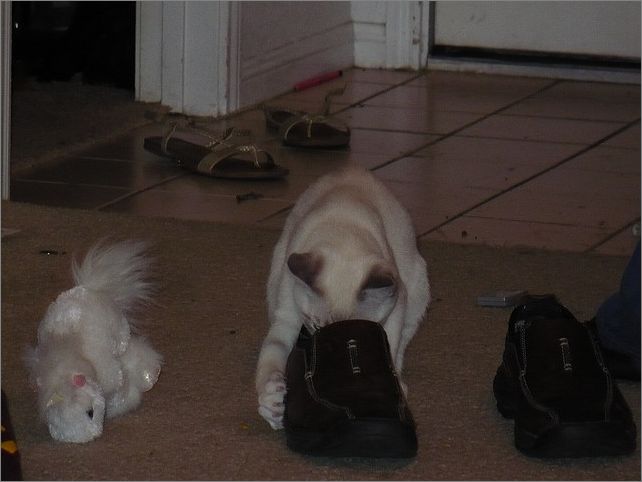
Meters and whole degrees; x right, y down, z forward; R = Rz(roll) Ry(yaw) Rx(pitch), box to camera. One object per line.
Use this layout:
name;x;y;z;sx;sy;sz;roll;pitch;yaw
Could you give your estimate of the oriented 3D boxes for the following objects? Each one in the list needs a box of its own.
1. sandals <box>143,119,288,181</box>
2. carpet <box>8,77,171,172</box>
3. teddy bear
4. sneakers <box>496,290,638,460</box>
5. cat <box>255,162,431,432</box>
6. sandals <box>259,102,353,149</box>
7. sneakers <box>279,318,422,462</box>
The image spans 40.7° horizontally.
sandals;-0.411;-0.432;3.442;0.538;0.183;0.279;19;21;31
carpet;-1.083;-0.519;3.831;0.588;0.026;0.428;-4;40;-39
teddy bear;-0.486;0.221;1.860;0.276;0.428;0.200;3;-27;-10
sneakers;0.529;0.300;1.965;0.191;0.144;0.381;-6;18;-3
cat;0.081;0.091;2.051;0.351;0.418;0.600;-1;50;8
sandals;-0.083;-0.500;3.914;0.200;0.106;0.336;-8;17;-34
sneakers;0.056;0.329;1.825;0.202;0.168;0.358;-1;20;-6
